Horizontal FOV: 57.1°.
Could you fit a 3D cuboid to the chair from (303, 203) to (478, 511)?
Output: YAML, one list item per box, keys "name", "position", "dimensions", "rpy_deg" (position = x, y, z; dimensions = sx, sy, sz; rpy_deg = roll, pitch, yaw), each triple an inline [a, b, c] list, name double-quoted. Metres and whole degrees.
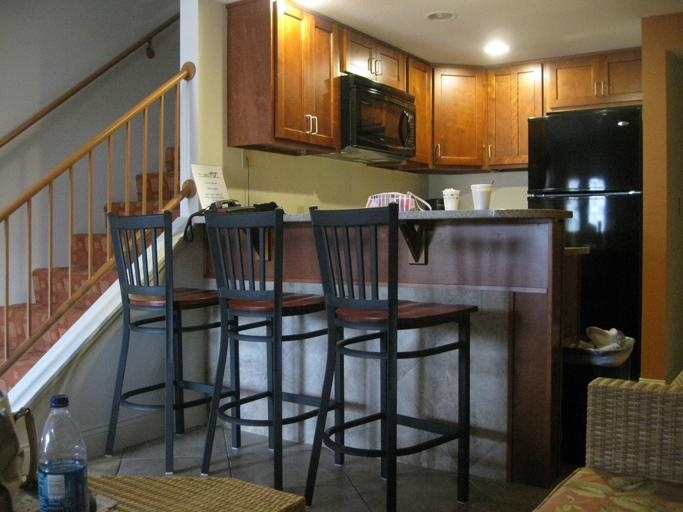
- name: "chair"
  position: [0.198, 0.423, 2.890]
  dimensions: [0.798, 1.337, 0.775]
  rpy_deg: [0, 6, 24]

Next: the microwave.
- name: "microwave"
  position: [0.156, -0.778, 4.603]
  dimensions: [0.444, 0.570, 0.893]
  rpy_deg: [-1, 1, 26]
